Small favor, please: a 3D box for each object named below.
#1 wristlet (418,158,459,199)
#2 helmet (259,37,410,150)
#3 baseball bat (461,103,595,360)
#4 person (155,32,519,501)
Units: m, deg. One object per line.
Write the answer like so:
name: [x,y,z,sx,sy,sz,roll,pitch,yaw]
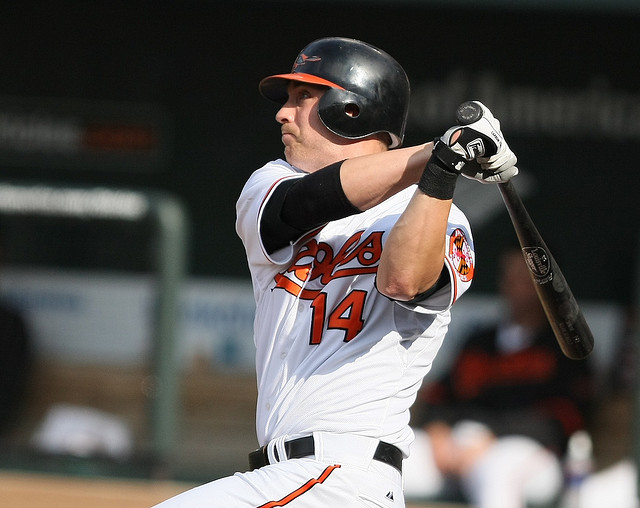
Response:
wristlet: [0.395,-0.244,3.792,0.125,0.119,0.123,20,90,-6]
helmet: [0.059,-0.604,4.437,0.609,0.421,0.440,7,79,-14]
baseball bat: [0.927,-0.074,4.931,0.168,0.172,1.298,-30,104,-16]
person: [0.105,0.360,4.411,0.959,2.063,1.546,5,48,2]
